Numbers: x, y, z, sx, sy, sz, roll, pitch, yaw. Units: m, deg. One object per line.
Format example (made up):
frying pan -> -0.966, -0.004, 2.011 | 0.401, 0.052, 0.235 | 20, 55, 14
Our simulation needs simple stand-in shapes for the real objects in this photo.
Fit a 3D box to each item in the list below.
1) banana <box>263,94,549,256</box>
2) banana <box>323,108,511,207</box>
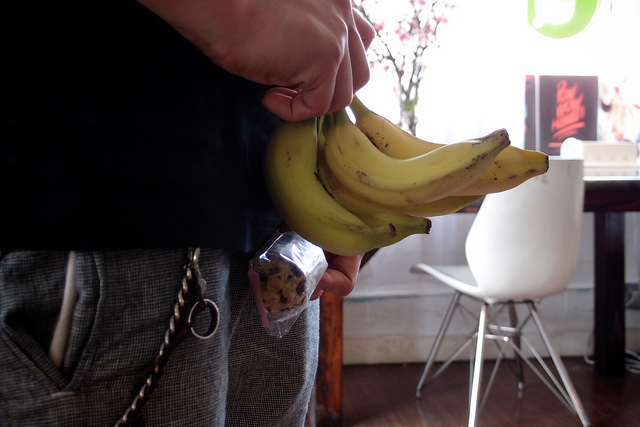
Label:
banana -> 0.109, -0.057, 0.831 | 0.323, 0.235, 0.199 | 17, 14, 25
banana -> 0.124, -0.070, 0.780 | 0.251, 0.119, 0.071 | 11, 21, 17
